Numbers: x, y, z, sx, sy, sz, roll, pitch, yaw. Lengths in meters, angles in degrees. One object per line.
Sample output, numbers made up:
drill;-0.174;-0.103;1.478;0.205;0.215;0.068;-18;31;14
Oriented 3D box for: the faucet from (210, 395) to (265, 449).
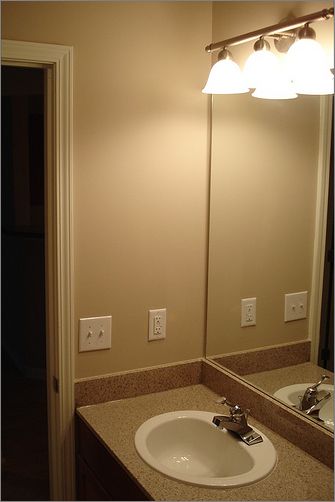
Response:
faucet;0.192;0.457;1.008;0.126;0.087;0.107;-2;-1;26
